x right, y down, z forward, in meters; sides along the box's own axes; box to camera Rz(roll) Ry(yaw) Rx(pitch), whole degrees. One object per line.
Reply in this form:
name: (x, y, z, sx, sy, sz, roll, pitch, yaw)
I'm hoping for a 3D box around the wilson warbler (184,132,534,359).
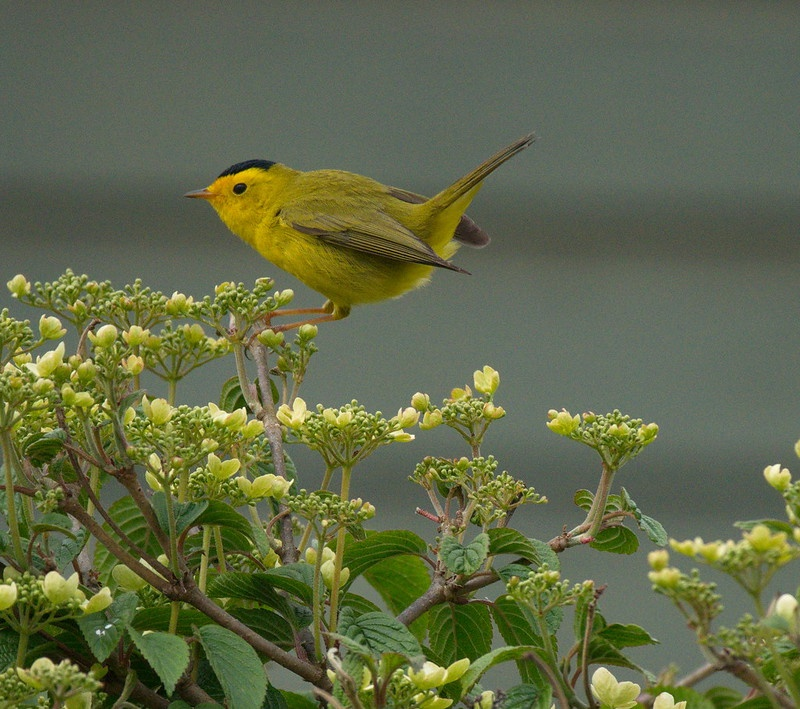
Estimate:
wilson warbler: (-0.154, -0.307, 3.441, 0.588, 0.691, 0.681, 1, 7, 9)
